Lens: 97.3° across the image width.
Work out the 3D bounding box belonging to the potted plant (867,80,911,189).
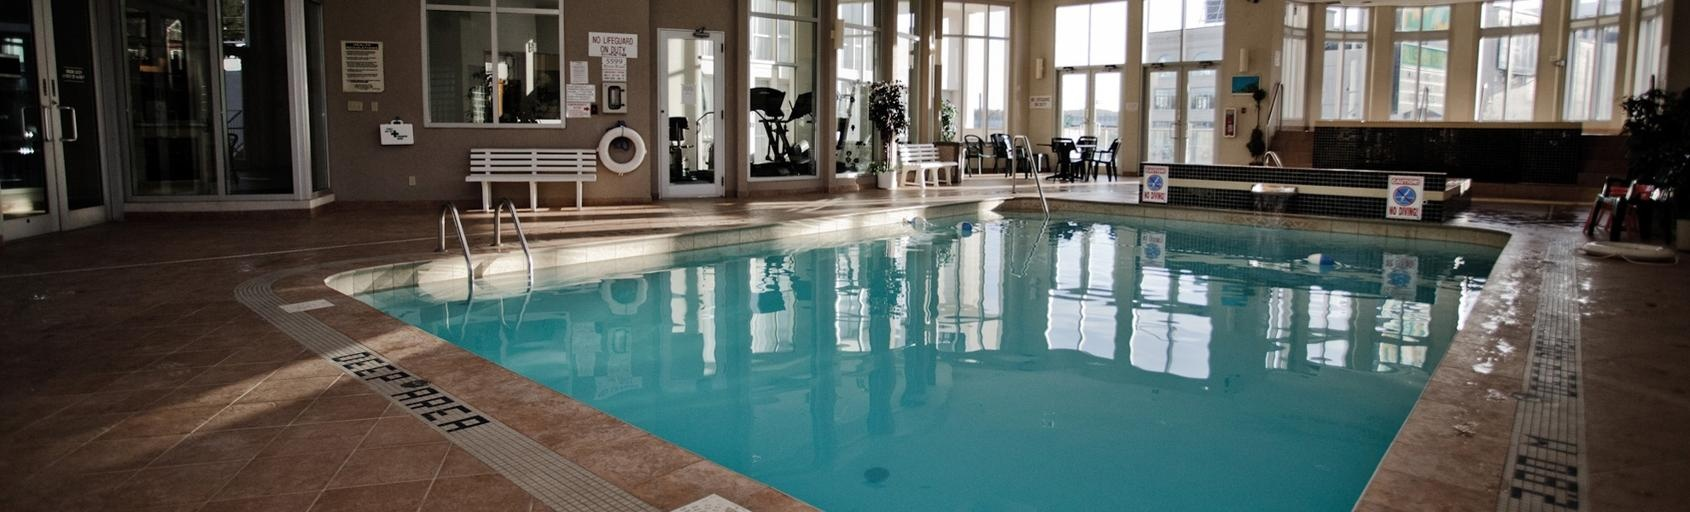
[{"bbox_3d":[1.420,-4.211,24.851,1.231,3.045,1.096,-4,17,-5],"label":"potted plant"}]

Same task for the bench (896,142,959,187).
[{"bbox_3d":[2.789,-3.138,25.513,0.853,0.802,2.120,11,16,42],"label":"bench"}]
